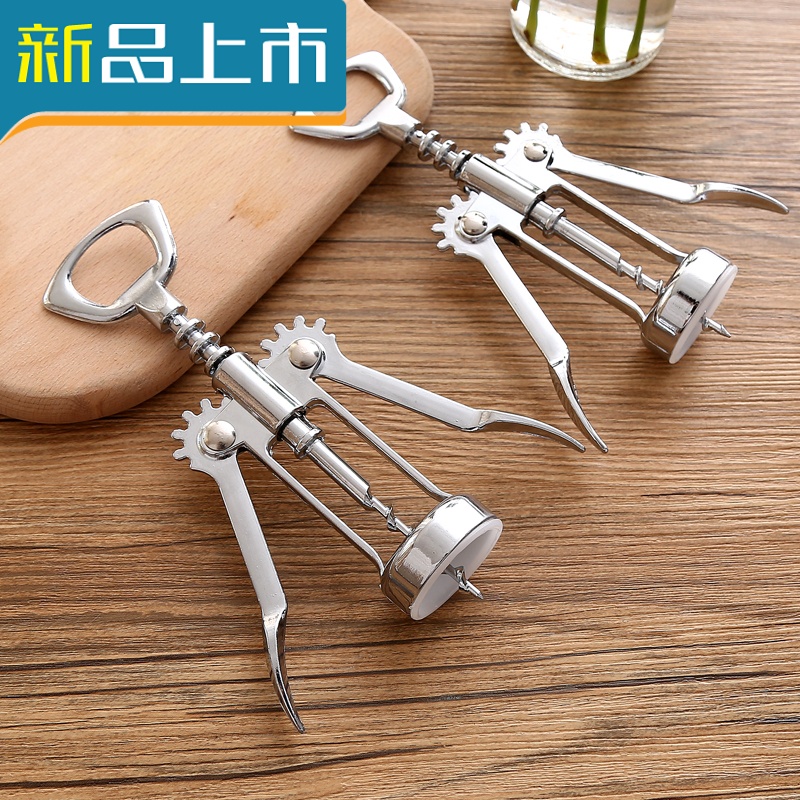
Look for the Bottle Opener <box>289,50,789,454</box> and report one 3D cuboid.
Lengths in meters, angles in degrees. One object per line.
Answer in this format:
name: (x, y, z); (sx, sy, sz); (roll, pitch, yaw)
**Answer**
Bottle Opener: (0.118, -0.132, 0.814); (0.452, 0.083, 0.247); (30, 67, 16)
